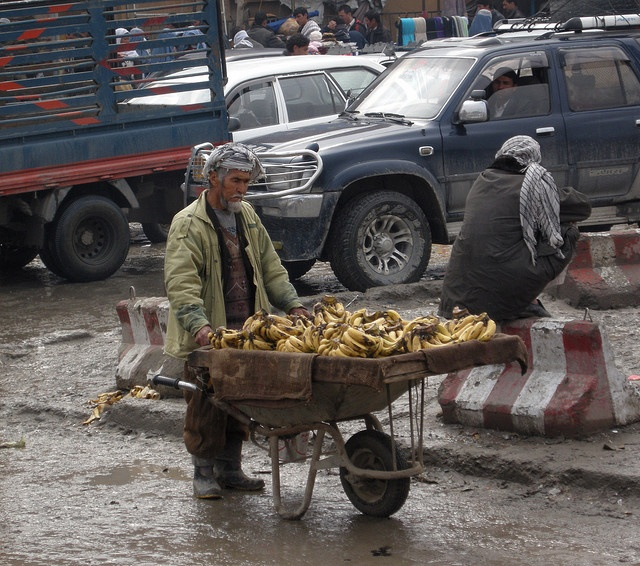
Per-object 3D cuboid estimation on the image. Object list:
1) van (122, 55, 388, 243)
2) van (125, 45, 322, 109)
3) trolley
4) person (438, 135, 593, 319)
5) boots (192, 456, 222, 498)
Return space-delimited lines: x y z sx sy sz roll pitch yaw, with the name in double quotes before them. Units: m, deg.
"van" -0.529 -2.098 10.043 3.301 1.267 1.654 -9 14 -28
"van" -1.228 -2.503 9.795 1.942 0.709 0.933 -8 18 -23
"trolley" -0.057 0.752 4.049 1.789 0.700 1.091 -4 -11 37
"person" 1.211 -0.250 4.997 0.950 0.975 0.452 -2 9 7
"boots" -0.617 1.042 4.259 0.103 0.182 0.275 5 2 -29
